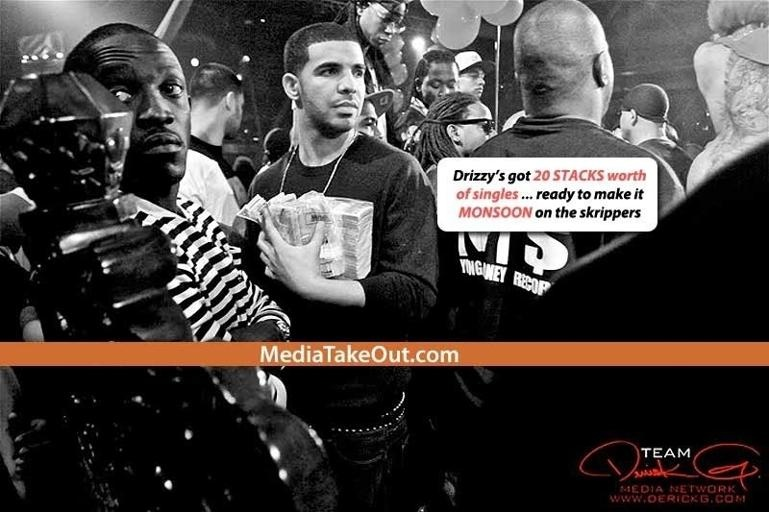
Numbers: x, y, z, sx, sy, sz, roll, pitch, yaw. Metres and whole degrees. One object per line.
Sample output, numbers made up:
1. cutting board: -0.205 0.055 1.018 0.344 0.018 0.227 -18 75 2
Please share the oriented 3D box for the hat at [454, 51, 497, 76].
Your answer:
1. hat: 0.307 -0.674 2.522 0.116 0.037 0.075 5 8 28
